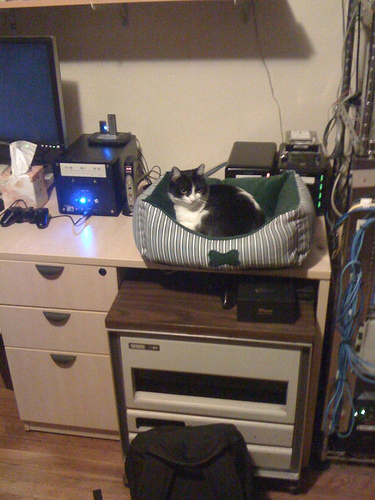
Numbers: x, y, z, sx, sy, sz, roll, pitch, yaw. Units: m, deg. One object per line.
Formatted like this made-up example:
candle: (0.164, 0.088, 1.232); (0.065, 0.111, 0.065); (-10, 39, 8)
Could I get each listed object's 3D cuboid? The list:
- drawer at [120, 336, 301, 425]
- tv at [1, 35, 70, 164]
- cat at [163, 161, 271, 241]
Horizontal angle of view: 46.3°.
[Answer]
drawer: (0.060, 0.356, 1.329); (0.520, 0.293, 0.131); (2, 26, 9)
tv: (-0.594, -0.537, 1.644); (0.319, 0.466, 0.120); (14, 30, 31)
cat: (0.054, -0.130, 1.396); (0.365, 0.149, 0.269); (17, -4, -42)
